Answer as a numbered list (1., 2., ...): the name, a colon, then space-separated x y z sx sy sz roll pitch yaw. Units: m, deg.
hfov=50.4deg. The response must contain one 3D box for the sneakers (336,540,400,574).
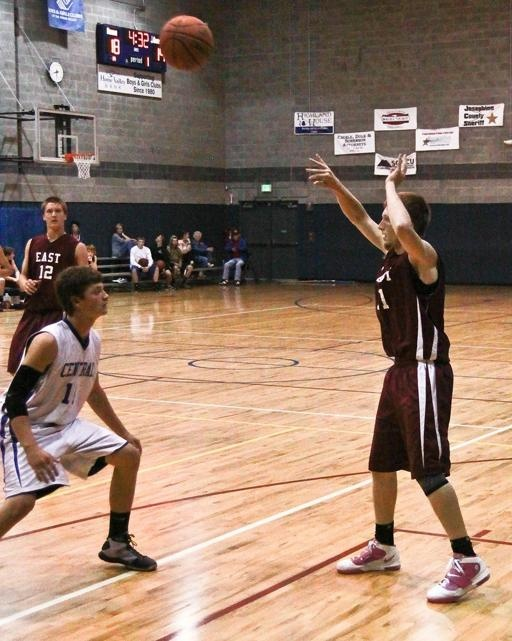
1. sneakers: 0.397 0.830 1.938 0.270 0.110 0.089 0 -2 -2

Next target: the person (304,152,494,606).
1. person: 0.484 0.129 1.757 0.330 1.471 0.471 -1 -3 -20

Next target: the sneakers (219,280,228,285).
1. sneakers: -1.178 -1.358 19.816 0.287 0.169 0.142 3 2 11

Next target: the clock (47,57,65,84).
1. clock: -5.930 -7.345 16.200 0.139 0.694 0.529 -4 -3 30
